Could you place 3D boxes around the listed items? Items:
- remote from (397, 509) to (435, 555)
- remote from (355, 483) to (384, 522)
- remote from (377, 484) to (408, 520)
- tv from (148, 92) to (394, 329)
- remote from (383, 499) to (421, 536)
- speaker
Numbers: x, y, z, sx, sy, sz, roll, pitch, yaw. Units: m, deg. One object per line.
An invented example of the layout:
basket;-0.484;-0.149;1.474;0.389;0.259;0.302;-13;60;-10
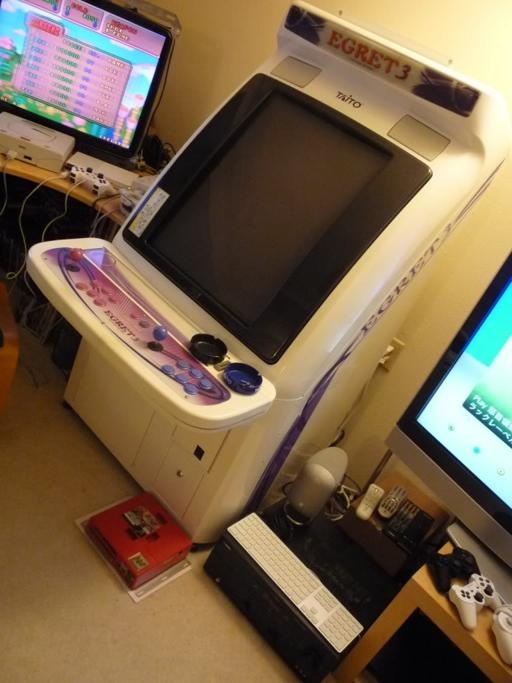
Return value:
remote;0.415;0.502;1.410;0.052;0.097;0.053;39;6;35
remote;0.314;0.440;1.485;0.051;0.104;0.025;24;-17;36
remote;0.374;0.441;1.478;0.045;0.023;0.108;22;48;26
tv;0.037;-0.286;1.191;0.464;0.398;0.115;41;17;27
remote;0.389;0.472;1.436;0.053;0.098;0.022;25;-32;36
speaker;0.165;0.410;1.533;0.111;0.177;0.174;32;-31;9
